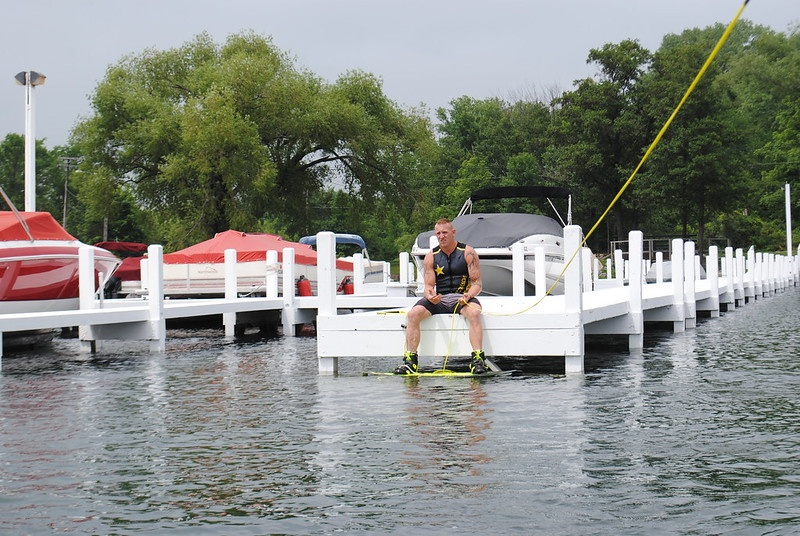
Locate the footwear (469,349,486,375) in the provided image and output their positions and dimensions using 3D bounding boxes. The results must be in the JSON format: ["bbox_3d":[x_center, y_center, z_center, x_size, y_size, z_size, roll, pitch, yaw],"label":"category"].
[{"bbox_3d":[1.423,1.663,19.617,0.300,0.454,0.399,1,11,4],"label":"footwear"}]

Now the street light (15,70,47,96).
[{"bbox_3d":[-9.164,-4.668,27.348,0.730,0.781,0.601,1,-3,3],"label":"street light"}]
